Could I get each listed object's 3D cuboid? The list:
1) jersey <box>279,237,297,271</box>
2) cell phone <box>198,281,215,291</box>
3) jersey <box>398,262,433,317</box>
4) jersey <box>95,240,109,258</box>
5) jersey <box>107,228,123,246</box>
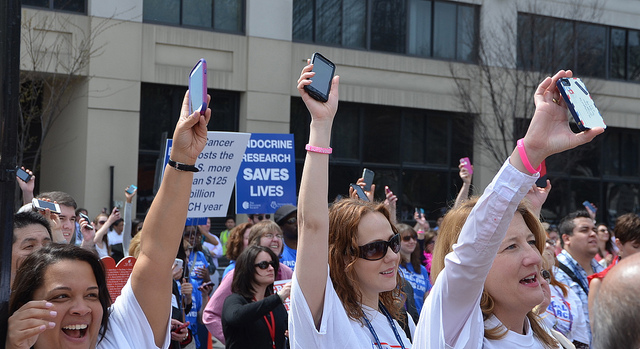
[{"bbox_3d":[-0.730,1.798,17.264,0.354,0.427,0.720,4,-3,-3],"label":"jersey"},{"bbox_3d":[-2.449,2.438,16.724,0.259,0.068,0.150,-30,-25,15],"label":"cell phone"},{"bbox_3d":[2.035,2.477,16.099,0.516,1.420,1.267,4,0,-18],"label":"jersey"},{"bbox_3d":[-5.203,1.741,17.973,0.303,0.310,1.059,4,-3,-16],"label":"jersey"},{"bbox_3d":[-5.380,1.658,19.903,0.480,0.457,0.265,3,-33,-24],"label":"jersey"}]
